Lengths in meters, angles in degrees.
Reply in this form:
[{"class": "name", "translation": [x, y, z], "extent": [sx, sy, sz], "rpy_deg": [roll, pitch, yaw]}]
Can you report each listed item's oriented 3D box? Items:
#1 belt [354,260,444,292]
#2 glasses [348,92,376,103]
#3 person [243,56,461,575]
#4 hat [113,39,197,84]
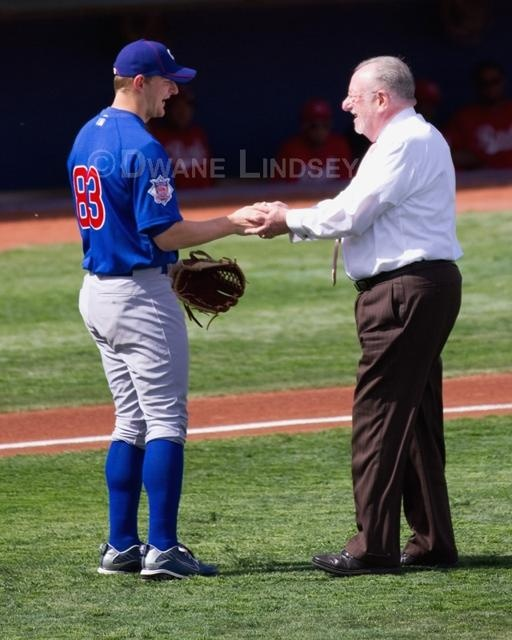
[{"class": "belt", "translation": [0.489, -0.148, 5.096], "extent": [0.341, 0.129, 0.112], "rpy_deg": [1, 14, 18]}, {"class": "glasses", "translation": [0.372, -0.783, 5.145], "extent": [0.085, 0.020, 0.047], "rpy_deg": [-13, 16, 31]}, {"class": "person", "translation": [0.438, -0.014, 5.163], "extent": [0.588, 1.794, 0.584], "rpy_deg": [-2, 14, 7]}, {"class": "hat", "translation": [-0.372, -0.914, 5.195], "extent": [0.274, 0.119, 0.149], "rpy_deg": [-6, 28, -6]}]
